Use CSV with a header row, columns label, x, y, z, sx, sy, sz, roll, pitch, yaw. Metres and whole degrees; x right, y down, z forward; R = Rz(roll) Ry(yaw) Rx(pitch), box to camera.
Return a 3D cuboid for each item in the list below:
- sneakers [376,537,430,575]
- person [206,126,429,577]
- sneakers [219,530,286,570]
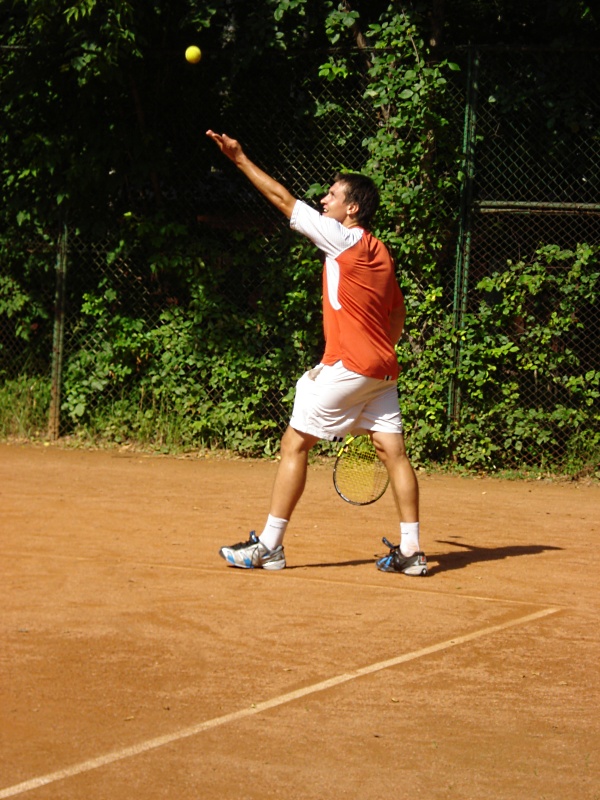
label,x,y,z,sx,sy,sz,roll,pitch,yaw
sneakers,0.506,0.797,4.314,0.116,0.115,0.286,-3,4,-39
person,0.174,-0.155,4.161,1.056,2.031,0.457,3,3,-3
sneakers,-0.226,0.753,4.303,0.408,0.188,0.139,6,1,-1
